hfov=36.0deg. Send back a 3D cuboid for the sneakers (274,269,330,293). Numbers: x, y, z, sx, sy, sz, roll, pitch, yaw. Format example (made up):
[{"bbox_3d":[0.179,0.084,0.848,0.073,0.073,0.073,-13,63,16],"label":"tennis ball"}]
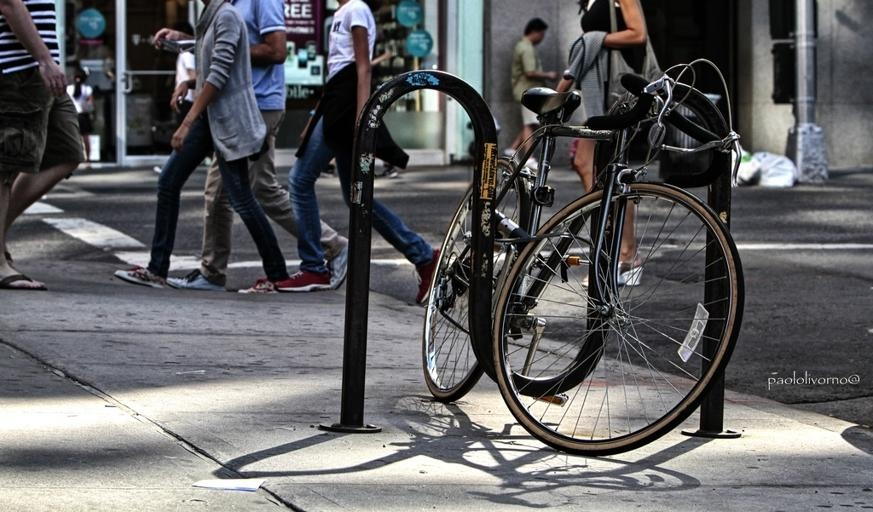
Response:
[{"bbox_3d":[-0.959,0.204,9.868,0.450,0.152,0.137,0,4,-21],"label":"sneakers"}]

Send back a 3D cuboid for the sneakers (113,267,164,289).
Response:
[{"bbox_3d":[-2.121,0.161,9.774,0.406,0.131,0.137,13,5,-13],"label":"sneakers"}]

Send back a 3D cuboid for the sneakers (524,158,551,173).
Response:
[{"bbox_3d":[0.533,-0.488,7.363,0.065,0.064,0.174,-11,4,-17],"label":"sneakers"}]

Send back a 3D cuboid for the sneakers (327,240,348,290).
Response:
[{"bbox_3d":[-0.729,0.075,9.888,0.190,0.358,0.134,14,-9,-5],"label":"sneakers"}]

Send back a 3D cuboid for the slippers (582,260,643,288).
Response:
[{"bbox_3d":[1.011,0.100,7.163,0.153,0.147,0.432,-1,-3,28],"label":"slippers"}]

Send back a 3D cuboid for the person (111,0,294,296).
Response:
[{"bbox_3d":[-1.642,-0.766,9.631,0.917,2.083,0.534,3,10,19],"label":"person"}]

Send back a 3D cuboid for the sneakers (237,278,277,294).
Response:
[{"bbox_3d":[-1.286,0.227,9.855,0.325,0.101,0.104,0,1,2],"label":"sneakers"}]

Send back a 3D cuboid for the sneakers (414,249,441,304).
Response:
[{"bbox_3d":[-0.028,0.098,9.247,0.217,0.416,0.143,9,33,-2],"label":"sneakers"}]

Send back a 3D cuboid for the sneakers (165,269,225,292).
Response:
[{"bbox_3d":[-1.759,0.186,9.896,0.447,0.138,0.154,6,-3,-13],"label":"sneakers"}]
